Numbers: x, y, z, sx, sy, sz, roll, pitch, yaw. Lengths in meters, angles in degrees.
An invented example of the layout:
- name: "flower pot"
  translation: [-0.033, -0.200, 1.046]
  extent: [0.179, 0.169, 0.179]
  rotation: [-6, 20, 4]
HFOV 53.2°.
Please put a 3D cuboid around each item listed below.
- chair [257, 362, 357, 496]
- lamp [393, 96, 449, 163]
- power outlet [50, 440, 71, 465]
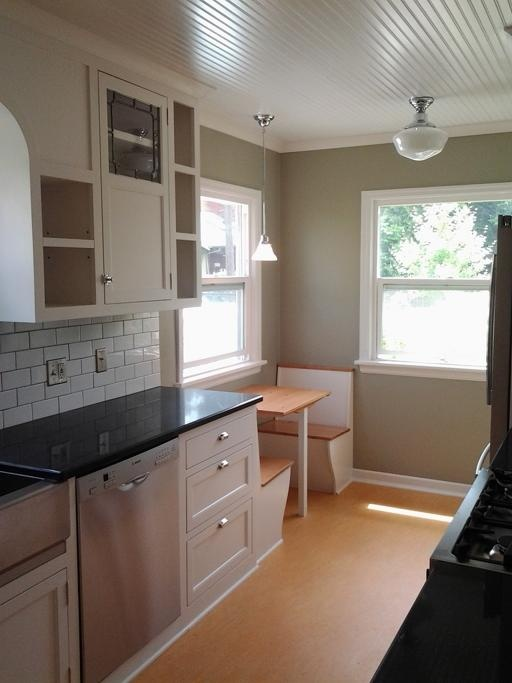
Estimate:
- name: "chair"
  translation: [0.323, 0.653, 3.875]
  extent: [0.636, 1.060, 0.525]
  rotation: [6, -7, 27]
- name: "lamp"
  translation: [0.822, -1.033, 2.527]
  extent: [0.204, 0.300, 0.213]
  rotation: [1, 7, 33]
- name: "power outlet"
  translation: [-0.606, 0.350, 1.580]
  extent: [0.055, 0.003, 0.214]
  rotation: [-1, 4, -20]
